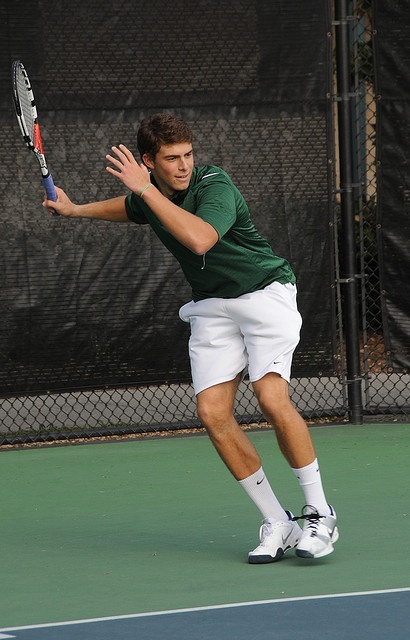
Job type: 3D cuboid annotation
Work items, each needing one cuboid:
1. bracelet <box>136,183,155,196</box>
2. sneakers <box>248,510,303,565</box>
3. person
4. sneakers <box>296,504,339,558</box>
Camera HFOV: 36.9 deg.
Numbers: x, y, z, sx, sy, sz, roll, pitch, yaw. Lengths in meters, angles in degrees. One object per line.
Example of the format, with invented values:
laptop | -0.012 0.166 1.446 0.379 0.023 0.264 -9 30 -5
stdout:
bracelet | -0.167 -0.364 1.723 0.038 0.051 0.040 -2 -5 -21
sneakers | 0.244 0.729 2.061 0.106 0.158 0.252 -7 -5 33
person | 0.065 0.082 2.093 0.720 1.471 0.911 -3 -4 -8
sneakers | 0.368 0.687 2.034 0.101 0.095 0.226 -2 6 13
